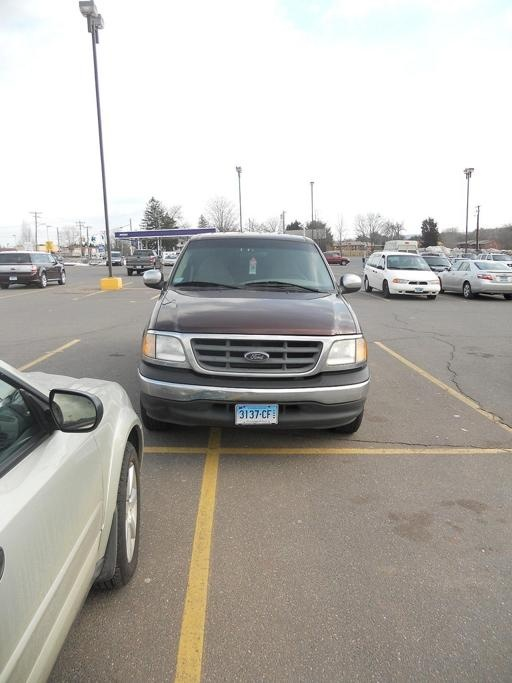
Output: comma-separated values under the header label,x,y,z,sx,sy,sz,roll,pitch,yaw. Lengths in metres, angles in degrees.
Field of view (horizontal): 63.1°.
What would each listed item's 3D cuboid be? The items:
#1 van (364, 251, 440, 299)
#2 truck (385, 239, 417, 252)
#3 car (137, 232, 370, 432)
label,x,y,z,sx,sy,sz,roll,pitch,yaw
van,6.179,-2.880,18.129,1.816,1.990,3.320,-2,7,-22
truck,12.207,-8.031,35.122,1.475,1.066,3.120,0,7,-9
car,-0.019,-0.325,4.529,1.378,1.472,2.880,0,5,0
